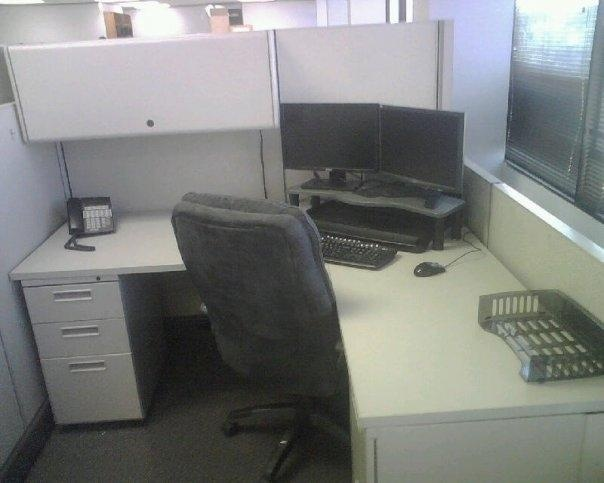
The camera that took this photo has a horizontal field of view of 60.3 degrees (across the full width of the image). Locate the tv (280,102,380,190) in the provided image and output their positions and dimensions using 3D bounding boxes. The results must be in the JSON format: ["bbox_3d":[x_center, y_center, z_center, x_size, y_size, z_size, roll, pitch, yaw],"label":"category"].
[{"bbox_3d":[0.139,-0.473,2.498,0.436,0.304,0.050,4,22,14],"label":"tv"}]

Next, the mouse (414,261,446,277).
[{"bbox_3d":[0.503,0.095,2.030,0.095,0.035,0.060,-12,23,-20],"label":"mouse"}]

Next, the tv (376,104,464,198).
[{"bbox_3d":[0.519,-0.394,2.287,0.031,0.304,0.401,-16,22,-39],"label":"tv"}]
